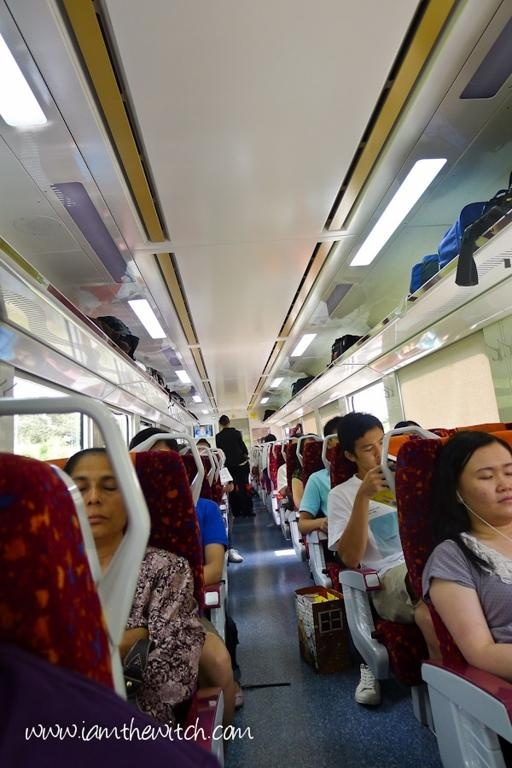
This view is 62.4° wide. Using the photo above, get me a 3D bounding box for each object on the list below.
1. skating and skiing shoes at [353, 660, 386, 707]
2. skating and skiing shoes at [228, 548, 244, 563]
[{"bbox_3d":[0.610,1.649,2.303,0.109,0.124,0.290,-1,-26,7],"label":"skating and skiing shoes"},{"bbox_3d":[-0.339,2.534,6.266,0.120,0.135,0.339,5,-23,-12],"label":"skating and skiing shoes"}]
